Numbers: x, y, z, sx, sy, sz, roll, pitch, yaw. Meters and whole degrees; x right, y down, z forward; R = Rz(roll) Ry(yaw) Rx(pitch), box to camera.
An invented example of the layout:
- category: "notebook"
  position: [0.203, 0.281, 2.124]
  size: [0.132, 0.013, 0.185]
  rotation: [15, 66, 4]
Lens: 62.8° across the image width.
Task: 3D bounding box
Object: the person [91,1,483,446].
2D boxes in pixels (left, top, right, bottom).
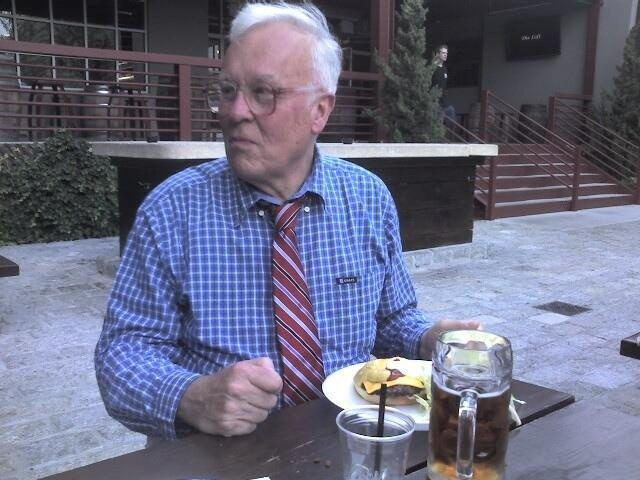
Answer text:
- category: "person"
  position: [-0.275, 0.042, 1.889]
  size: [0.937, 1.683, 0.938]
  rotation: [-5, 19, -40]

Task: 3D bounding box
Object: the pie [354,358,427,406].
- category: "pie"
  position: [0.221, 0.363, 1.477]
  size: [0.180, 0.061, 0.202]
  rotation: [9, 19, 23]

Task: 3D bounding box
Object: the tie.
- category: "tie"
  position: [-0.078, 0.158, 1.622]
  size: [0.157, 0.544, 0.081]
  rotation: [-1, 8, 16]

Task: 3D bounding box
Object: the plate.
- category: "plate"
  position: [0.176, 0.362, 1.418]
  size: [0.273, 0.139, 0.274]
  rotation: [-3, 12, -26]
